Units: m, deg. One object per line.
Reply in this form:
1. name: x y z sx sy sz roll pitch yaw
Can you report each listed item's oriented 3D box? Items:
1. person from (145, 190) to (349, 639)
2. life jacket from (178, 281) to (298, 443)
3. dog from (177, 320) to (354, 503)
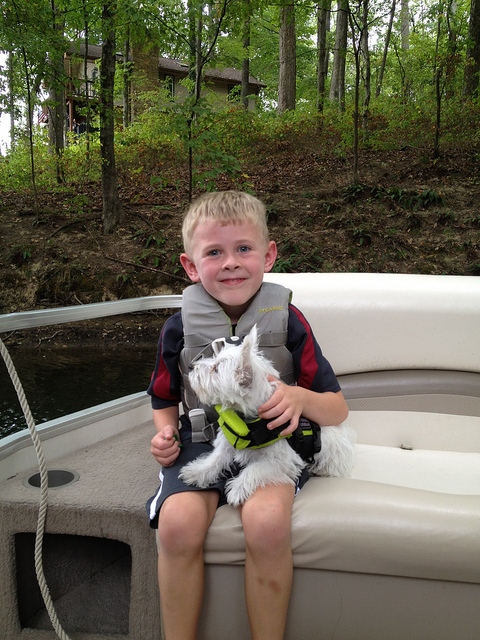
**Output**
1. person: -0.009 0.161 1.355 0.582 0.954 0.817 4 17 12
2. life jacket: 0.002 0.118 1.531 0.356 0.464 0.261 -4 8 -4
3. dog: 0.065 0.214 1.274 0.383 0.378 0.245 -2 1 -26
